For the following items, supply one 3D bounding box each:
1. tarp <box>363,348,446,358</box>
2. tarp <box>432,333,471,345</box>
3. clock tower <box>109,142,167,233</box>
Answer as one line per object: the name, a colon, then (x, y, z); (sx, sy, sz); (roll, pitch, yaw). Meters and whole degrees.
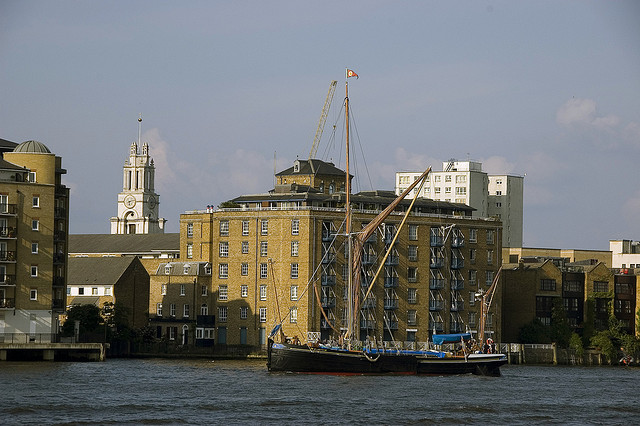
tarp: (12.477, 19.985, 232.633); (11.599, 1.462, 3.355); (2, -9, -18)
tarp: (18.754, 18.052, 233.780); (5.499, 1.507, 3.860); (-3, -9, 13)
clock tower: (-47.233, -6.220, 415.637); (11.434, 23.611, 7.536); (2, -9, -17)
